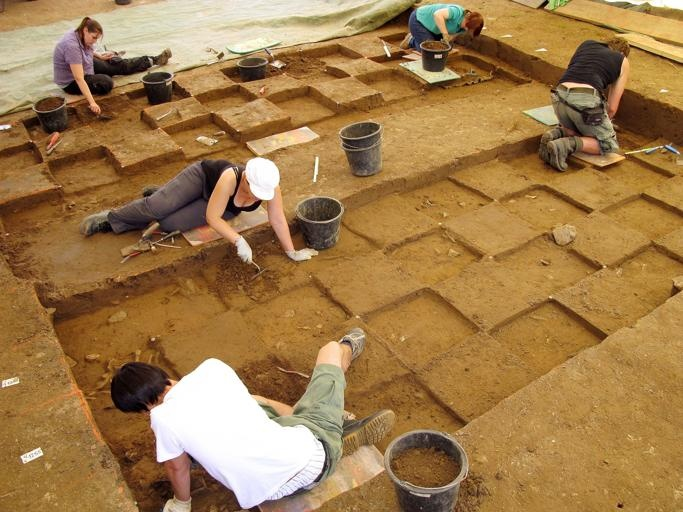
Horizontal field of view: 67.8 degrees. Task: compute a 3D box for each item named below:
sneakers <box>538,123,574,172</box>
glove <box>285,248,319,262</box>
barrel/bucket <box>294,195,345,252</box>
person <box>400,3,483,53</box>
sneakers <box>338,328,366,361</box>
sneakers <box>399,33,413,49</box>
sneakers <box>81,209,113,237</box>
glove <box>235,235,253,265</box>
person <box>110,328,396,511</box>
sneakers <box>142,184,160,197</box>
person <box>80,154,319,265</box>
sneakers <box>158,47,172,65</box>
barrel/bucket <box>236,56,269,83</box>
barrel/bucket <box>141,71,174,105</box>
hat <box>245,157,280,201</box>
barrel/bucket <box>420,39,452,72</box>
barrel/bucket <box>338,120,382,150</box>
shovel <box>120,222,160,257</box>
[{"bbox_3d":[2.291,-1.117,5.446,0.280,0.567,0.225,-29,49,-5],"label":"sneakers"},{"bbox_3d":[-0.340,-0.015,4.534,0.247,0.055,0.103,-4,37,-11],"label":"glove"},{"bbox_3d":[-0.222,-0.311,4.735,0.582,0.351,0.493,-3,36,-3],"label":"barrel/bucket"},{"bbox_3d":[1.413,-3.222,7.338,0.776,0.740,0.979,-10,47,-11],"label":"person"},{"bbox_3d":[0.097,0.633,3.785,0.120,0.123,0.302,29,52,21],"label":"sneakers"},{"bbox_3d":[1.010,-3.304,7.820,0.150,0.148,0.339,18,51,17],"label":"sneakers"},{"bbox_3d":[-2.211,-0.290,4.660,0.352,0.146,0.172,-26,82,-23],"label":"sneakers"},{"bbox_3d":[-0.805,-0.044,4.292,0.086,0.219,0.156,22,56,41],"label":"glove"},{"bbox_3d":[-0.514,0.971,2.876,1.453,0.414,1.106,8,36,9],"label":"person"},{"bbox_3d":[-1.806,-0.618,4.833,0.137,0.056,0.157,-21,16,-2],"label":"sneakers"},{"bbox_3d":[-1.258,-0.604,4.458,1.858,0.710,0.883,19,33,10],"label":"person"},{"bbox_3d":[-2.496,-2.815,7.229,0.158,0.327,0.100,6,84,-30],"label":"sneakers"},{"bbox_3d":[-1.228,-2.571,7.103,0.464,0.234,0.368,-5,41,-7],"label":"barrel/bucket"},{"bbox_3d":[-2.325,-2.170,6.669,0.511,0.357,0.434,-5,43,-9],"label":"barrel/bucket"},{"bbox_3d":[-0.622,-0.606,3.918,0.293,0.125,0.302,-14,75,-18],"label":"hat"},{"bbox_3d":[1.279,-2.781,7.122,0.532,0.310,0.413,-1,45,2],"label":"barrel/bucket"},{"bbox_3d":[0.189,-1.209,5.094,0.425,0.267,0.356,-11,44,-2],"label":"barrel/bucket"},{"bbox_3d":[-1.742,-0.134,4.402,0.377,0.112,0.245,-27,66,-6],"label":"shovel"}]
